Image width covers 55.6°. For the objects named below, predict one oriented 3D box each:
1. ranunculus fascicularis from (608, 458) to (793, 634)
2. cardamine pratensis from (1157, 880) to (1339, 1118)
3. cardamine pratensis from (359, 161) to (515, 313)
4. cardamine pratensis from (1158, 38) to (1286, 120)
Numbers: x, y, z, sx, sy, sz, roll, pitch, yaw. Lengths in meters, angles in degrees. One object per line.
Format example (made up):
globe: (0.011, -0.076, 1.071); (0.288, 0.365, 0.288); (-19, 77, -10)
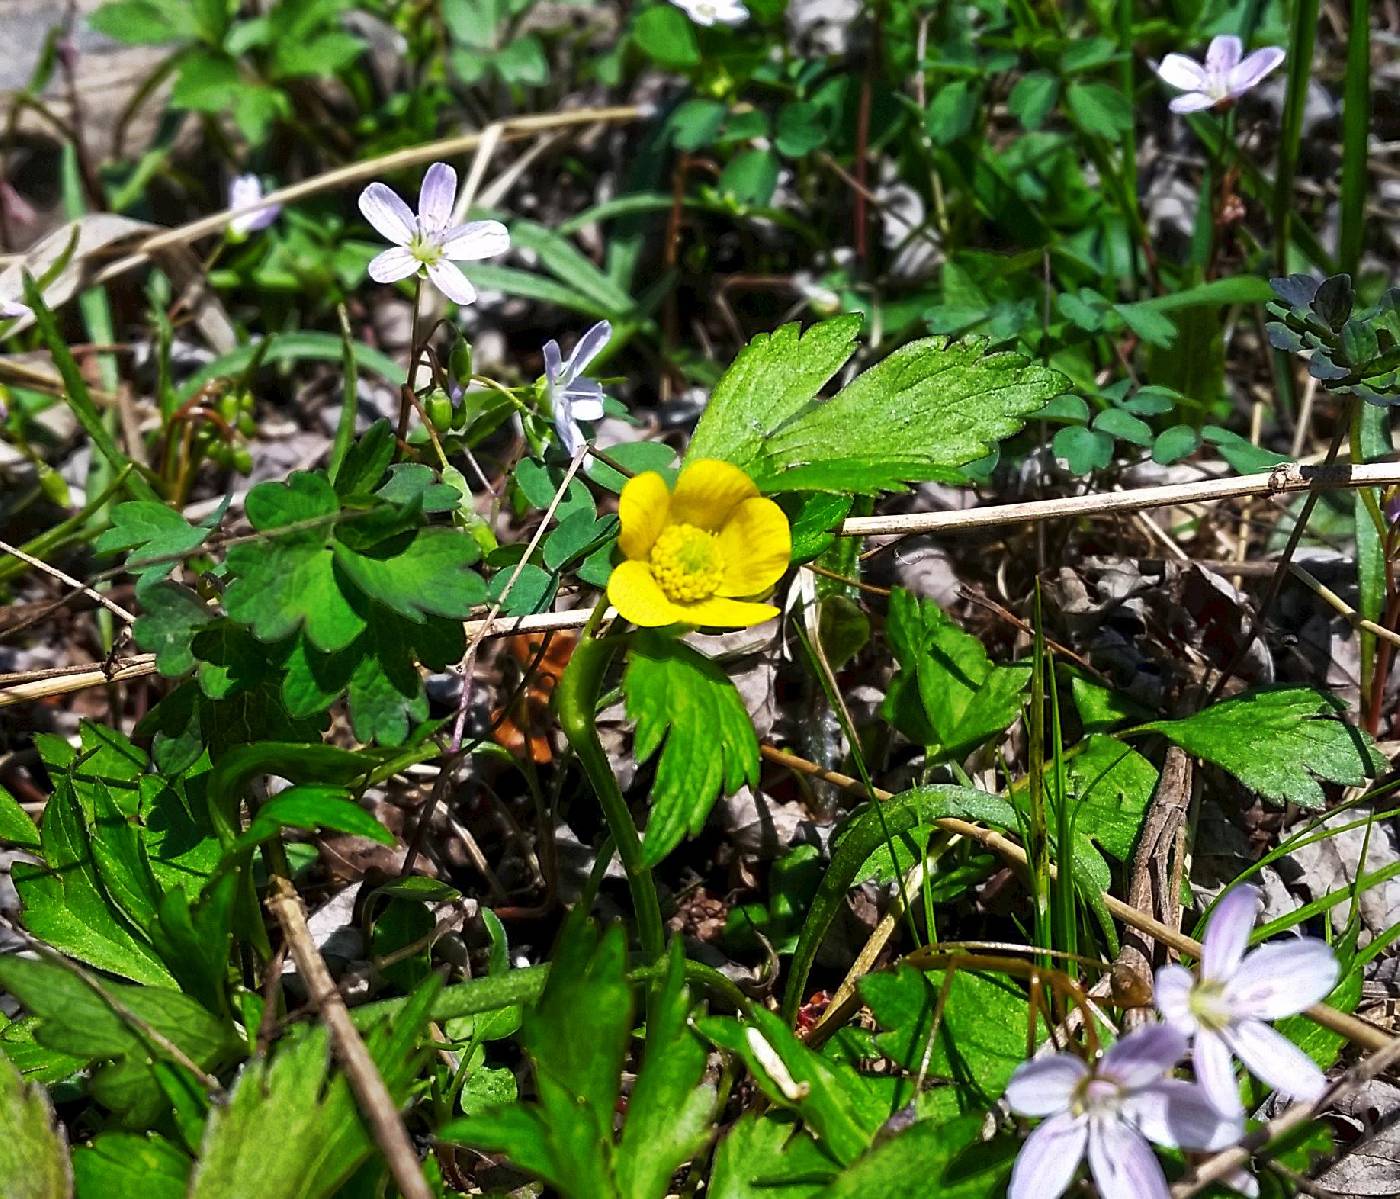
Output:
ranunculus fascicularis: (0.002, -0.049, 1.958); (0.258, 0.208, 0.247); (-1, 55, 4)
cardamine pratensis: (0.676, 0.504, 1.691); (0.187, 0.344, 0.198); (5, 22, -3)
cardamine pratensis: (-0.450, -0.594, 2.246); (0.225, 0.217, 0.254); (-33, 59, -17)
cardamine pratensis: (0.980, -0.997, 2.540); (0.187, 0.201, 0.201); (-2, 18, 2)
